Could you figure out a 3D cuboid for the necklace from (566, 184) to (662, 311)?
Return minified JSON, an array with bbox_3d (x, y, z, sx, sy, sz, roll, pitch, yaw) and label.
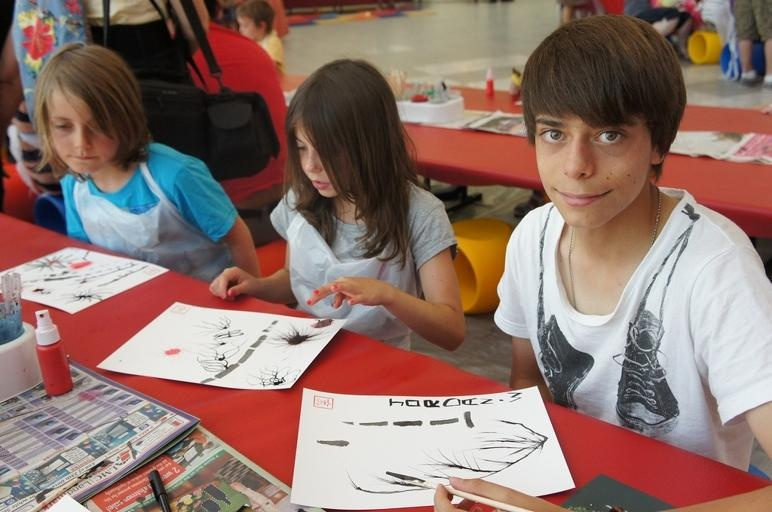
[{"bbox_3d":[0.447,-0.032,1.175,0.143,0.281,0.064,7,4,31],"label":"necklace"}]
